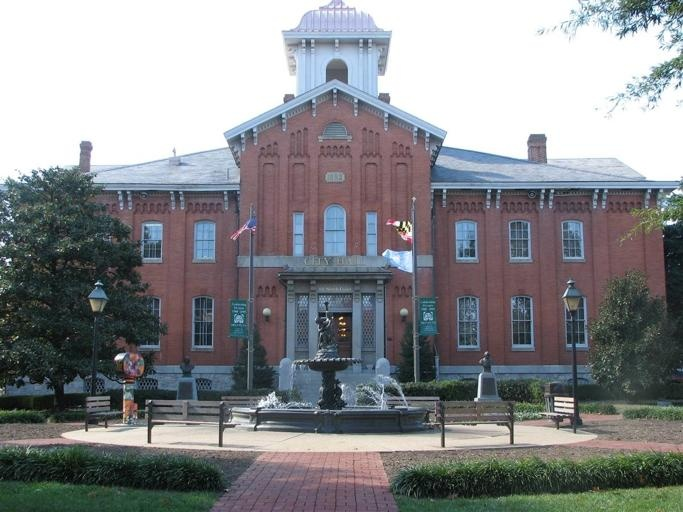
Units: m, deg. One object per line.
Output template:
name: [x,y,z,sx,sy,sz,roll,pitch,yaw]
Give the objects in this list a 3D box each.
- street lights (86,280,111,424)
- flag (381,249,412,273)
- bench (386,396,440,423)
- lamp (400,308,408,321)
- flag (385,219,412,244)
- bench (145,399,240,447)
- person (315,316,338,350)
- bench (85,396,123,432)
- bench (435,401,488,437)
street lights: [-8.674,3.191,36.849,0.880,4.558,0.781,2,-6,-3]
flag: [2.555,0.249,47.442,1.056,0.952,0.350,0,-9,-1]
bench: [2.605,5.460,37.331,1.770,1.090,4.484,-1,-10,0]
lamp: [2.946,2.732,48.600,0.475,0.657,0.486,3,-1,7]
flag: [2.779,-1.052,46.988,0.411,1.124,1.102,-5,14,25]
bench: [-4.727,5.085,31.698,2.773,1.168,0.934,2,4,-13]
person: [-0.516,2.610,35.536,0.634,1.297,1.529,-1,-10,-1]
bench: [-8.282,5.510,36.174,0.609,1.027,1.642,0,-9,6]
bench: [3.355,4.836,31.881,1.904,0.759,1.317,6,-13,-37]
